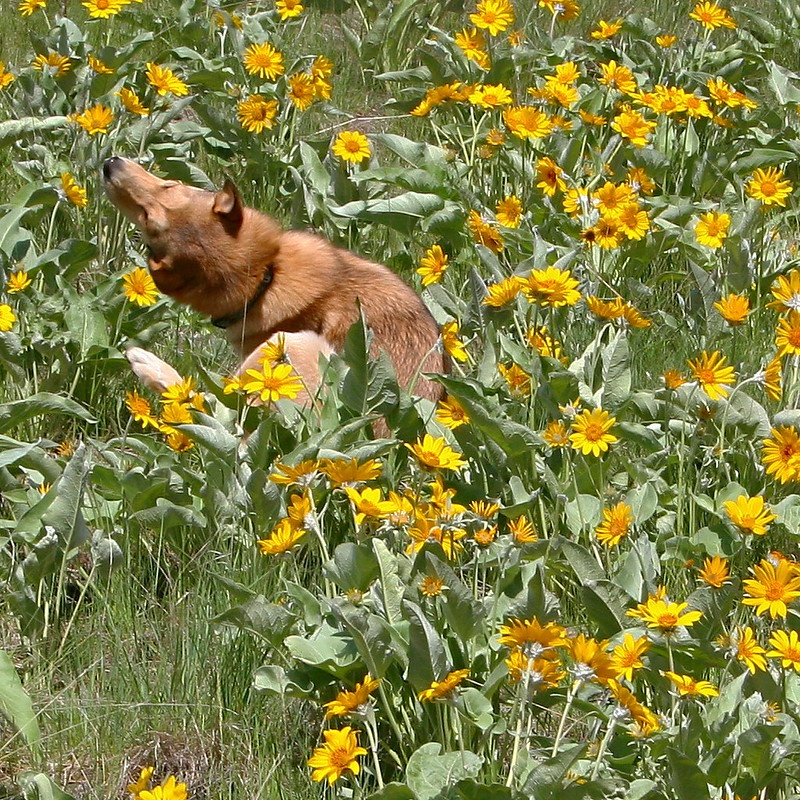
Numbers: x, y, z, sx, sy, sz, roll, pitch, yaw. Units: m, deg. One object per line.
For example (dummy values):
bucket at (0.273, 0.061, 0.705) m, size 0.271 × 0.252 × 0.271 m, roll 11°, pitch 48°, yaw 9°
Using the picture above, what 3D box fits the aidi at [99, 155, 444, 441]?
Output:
aidi at (-0.304, -0.291, 4.390) m, size 1.498 × 0.799 × 0.606 m, roll 10°, pitch 29°, yaw -24°
